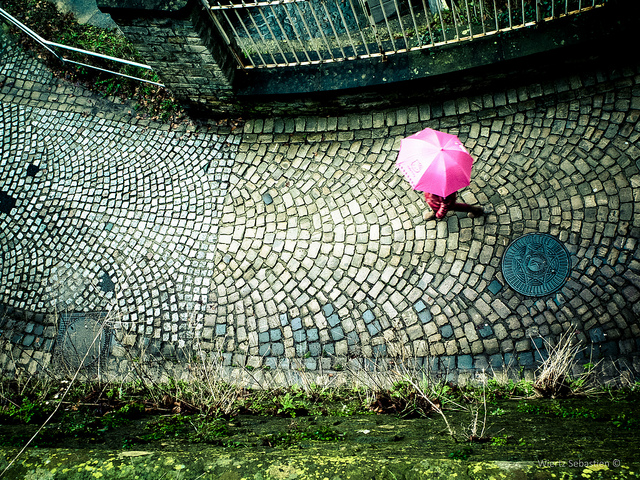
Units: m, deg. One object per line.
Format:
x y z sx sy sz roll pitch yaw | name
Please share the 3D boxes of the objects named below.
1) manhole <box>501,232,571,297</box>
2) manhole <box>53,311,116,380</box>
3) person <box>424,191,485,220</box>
3.220 0.372 8.163 0.977 0.786 0.554 -22 21 8 | manhole
-3.712 1.627 8.600 1.249 1.290 0.291 0 -13 6 | manhole
1.992 -0.517 8.140 0.780 0.433 0.942 -2 1 23 | person
